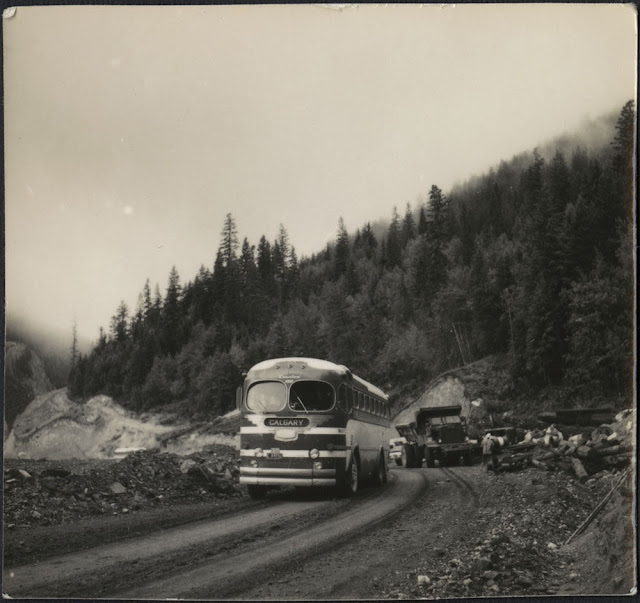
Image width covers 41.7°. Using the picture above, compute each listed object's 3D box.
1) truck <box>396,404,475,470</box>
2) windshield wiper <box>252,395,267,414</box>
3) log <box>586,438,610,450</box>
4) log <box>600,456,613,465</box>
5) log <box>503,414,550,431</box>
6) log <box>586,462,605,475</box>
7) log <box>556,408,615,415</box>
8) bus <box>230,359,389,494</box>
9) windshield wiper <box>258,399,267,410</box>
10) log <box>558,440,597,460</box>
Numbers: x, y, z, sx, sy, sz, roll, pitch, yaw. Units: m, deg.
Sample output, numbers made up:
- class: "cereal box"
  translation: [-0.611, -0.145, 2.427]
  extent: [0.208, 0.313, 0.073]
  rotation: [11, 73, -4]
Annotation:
- class: "truck"
  translation: [2.584, 3.101, 19.112]
  extent: [0.866, 1.239, 2.365]
  rotation: [1, -20, -9]
- class: "windshield wiper"
  translation: [-1.217, 2.118, 17.379]
  extent: [0.056, 0.460, 0.088]
  rotation: [7, -41, -43]
- class: "log"
  translation: [5.476, 2.789, 16.560]
  extent: [0.245, 0.114, 0.241]
  rotation: [-9, 16, 47]
- class: "log"
  translation: [5.600, 3.103, 16.478]
  extent: [0.221, 0.171, 0.052]
  rotation: [0, -11, -6]
- class: "log"
  translation: [4.210, 2.461, 17.305]
  extent: [1.035, 0.433, 0.140]
  rotation: [-16, -18, 40]
- class: "log"
  translation: [5.385, 3.276, 16.456]
  extent: [0.270, 0.103, 0.069]
  rotation: [-28, 34, -22]
- class: "log"
  translation: [5.293, 2.174, 16.840]
  extent: [1.105, 0.152, 0.074]
  rotation: [-7, -13, 14]
- class: "bus"
  translation: [0.136, 2.770, 18.674]
  extent: [1.636, 2.226, 3.967]
  rotation: [-2, -8, 16]
- class: "windshield wiper"
  translation: [-1.182, 2.124, 17.392]
  extent: [0.025, 0.212, 0.027]
  rotation: [-28, -5, -19]
- class: "log"
  translation: [5.126, 2.944, 16.615]
  extent: [0.452, 0.236, 0.330]
  rotation: [20, 34, 30]
